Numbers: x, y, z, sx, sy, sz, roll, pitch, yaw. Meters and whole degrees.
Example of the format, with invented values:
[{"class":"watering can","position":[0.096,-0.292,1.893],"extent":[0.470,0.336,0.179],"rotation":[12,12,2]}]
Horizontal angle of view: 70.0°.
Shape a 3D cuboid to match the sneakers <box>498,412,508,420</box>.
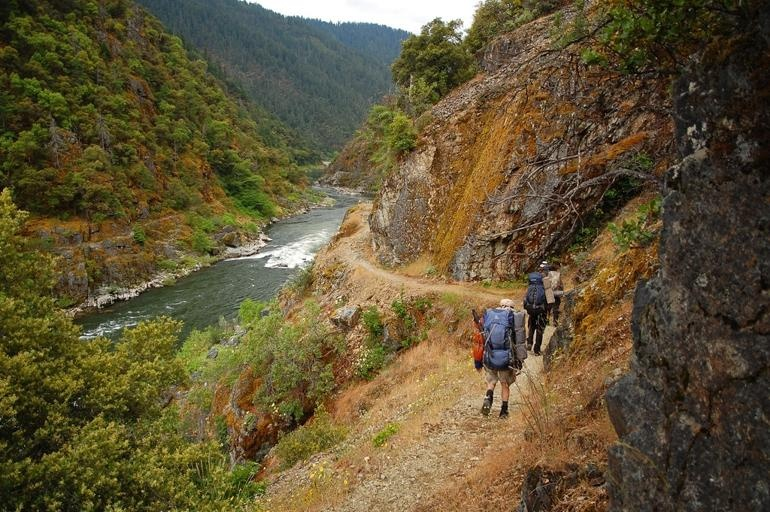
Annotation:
[{"class":"sneakers","position":[3.511,4.779,16.420],"extent":[0.296,0.222,0.103],"rotation":[-13,-3,34]}]
